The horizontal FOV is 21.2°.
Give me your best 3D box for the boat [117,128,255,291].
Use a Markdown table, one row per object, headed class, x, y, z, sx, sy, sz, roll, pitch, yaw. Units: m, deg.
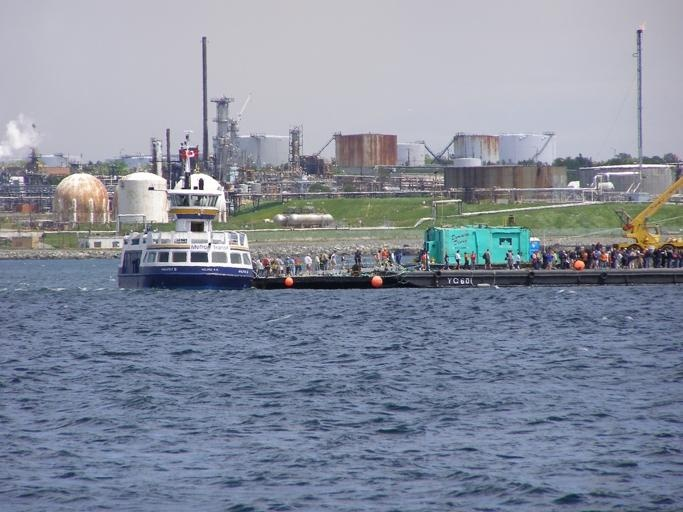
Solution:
| class | x | y | z | sx | sy | sz | roll | pitch | yaw |
| --- | --- | --- | --- | --- | --- | --- | --- | --- | --- |
| boat | -12.455 | -2.061 | 163.719 | 10.765 | 14.739 | 21.374 | 1 | -3 | -24 |
